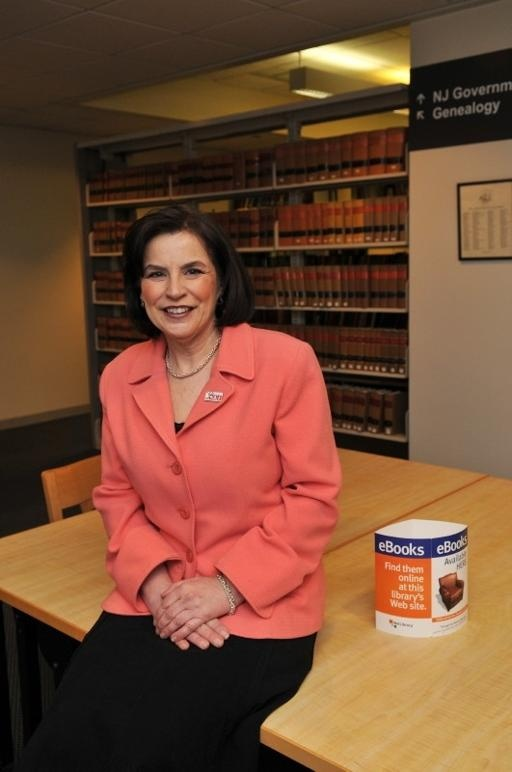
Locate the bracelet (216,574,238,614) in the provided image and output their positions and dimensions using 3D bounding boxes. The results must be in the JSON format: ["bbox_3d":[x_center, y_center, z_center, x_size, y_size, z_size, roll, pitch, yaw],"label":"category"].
[{"bbox_3d":[-0.055,0.378,1.064,0.043,0.054,0.018,-14,-8,-3],"label":"bracelet"}]
